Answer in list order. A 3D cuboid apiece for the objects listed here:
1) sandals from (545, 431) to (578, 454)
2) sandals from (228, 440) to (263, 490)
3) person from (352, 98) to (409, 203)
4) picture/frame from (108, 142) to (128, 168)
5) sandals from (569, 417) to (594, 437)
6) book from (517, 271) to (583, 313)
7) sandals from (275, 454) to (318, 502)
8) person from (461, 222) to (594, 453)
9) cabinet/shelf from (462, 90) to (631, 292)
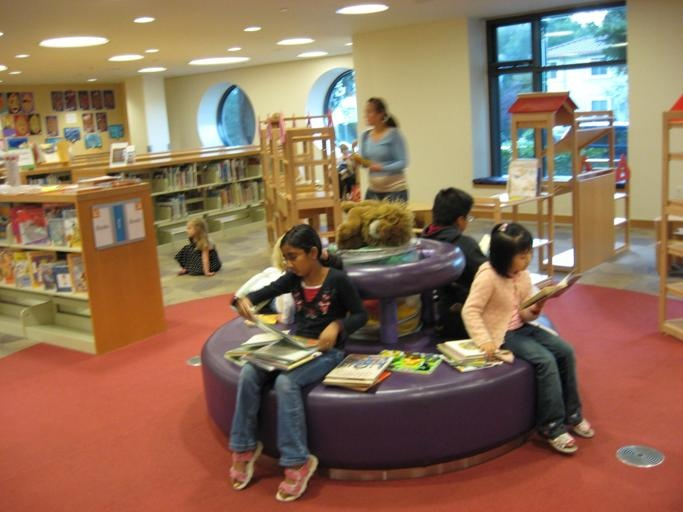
[{"bbox_3d":[1.086,0.925,2.494,0.095,0.049,0.140,-6,1,-20],"label":"sandals"},{"bbox_3d":[-0.471,0.990,2.455,0.098,0.258,0.113,4,-17,33],"label":"sandals"},{"bbox_3d":[0.331,-0.948,4.449,0.497,0.926,0.526,-3,11,7],"label":"person"},{"bbox_3d":[-3.337,-1.511,7.503,0.287,0.344,0.474,-9,11,-23],"label":"picture/frame"},{"bbox_3d":[1.248,0.888,2.596,0.077,0.054,0.140,-4,10,4],"label":"sandals"},{"bbox_3d":[1.014,0.238,2.445,0.231,0.062,0.257,-34,-3,41],"label":"book"},{"bbox_3d":[-0.203,1.037,2.366,0.119,0.105,0.260,14,61,41],"label":"sandals"},{"bbox_3d":[0.964,0.387,2.614,0.650,1.076,0.498,8,13,43],"label":"person"},{"bbox_3d":[2.339,-0.797,5.401,2.252,1.952,0.588,-16,18,-32],"label":"cabinet/shelf"}]
